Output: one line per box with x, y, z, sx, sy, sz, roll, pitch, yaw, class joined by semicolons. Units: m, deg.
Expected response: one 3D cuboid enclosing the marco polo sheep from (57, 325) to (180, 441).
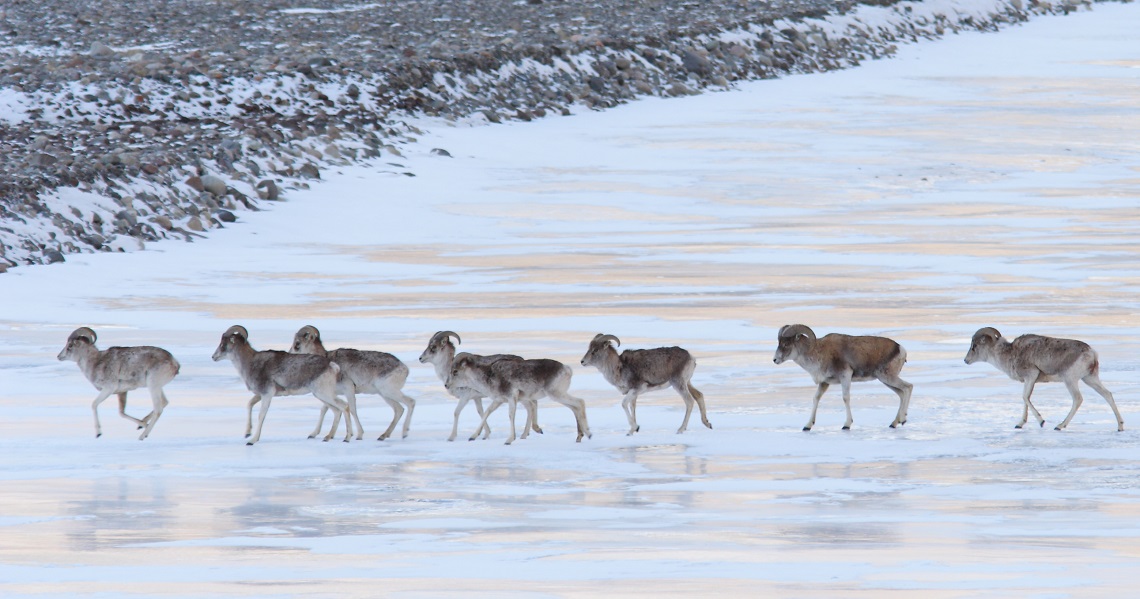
-10.324;1.854;46.818;2.368;2.377;1.583;4;4;31;marco polo sheep
